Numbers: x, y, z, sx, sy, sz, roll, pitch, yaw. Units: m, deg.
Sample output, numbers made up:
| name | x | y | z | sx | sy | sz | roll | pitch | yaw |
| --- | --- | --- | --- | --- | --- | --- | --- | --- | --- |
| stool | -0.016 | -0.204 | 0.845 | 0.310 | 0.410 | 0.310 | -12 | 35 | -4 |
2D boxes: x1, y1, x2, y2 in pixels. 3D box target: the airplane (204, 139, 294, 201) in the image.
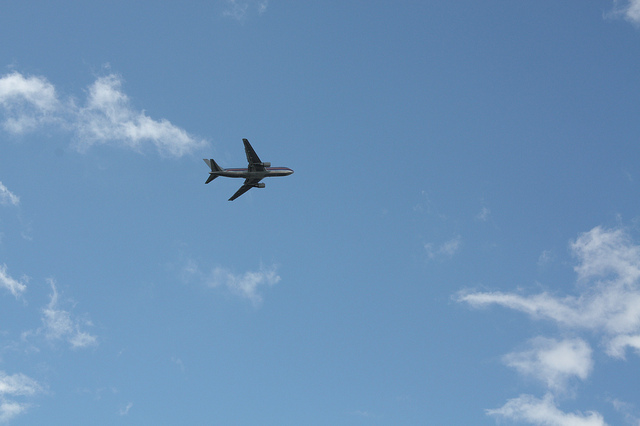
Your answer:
| name | x | y | z | sx | sy | sz | roll | pitch | yaw |
| --- | --- | --- | --- | --- | --- | --- | --- | --- | --- |
| airplane | -14.585 | -9.995 | 247.046 | 21.420 | 5.768 | 19.705 | -4 | -59 | -14 |
